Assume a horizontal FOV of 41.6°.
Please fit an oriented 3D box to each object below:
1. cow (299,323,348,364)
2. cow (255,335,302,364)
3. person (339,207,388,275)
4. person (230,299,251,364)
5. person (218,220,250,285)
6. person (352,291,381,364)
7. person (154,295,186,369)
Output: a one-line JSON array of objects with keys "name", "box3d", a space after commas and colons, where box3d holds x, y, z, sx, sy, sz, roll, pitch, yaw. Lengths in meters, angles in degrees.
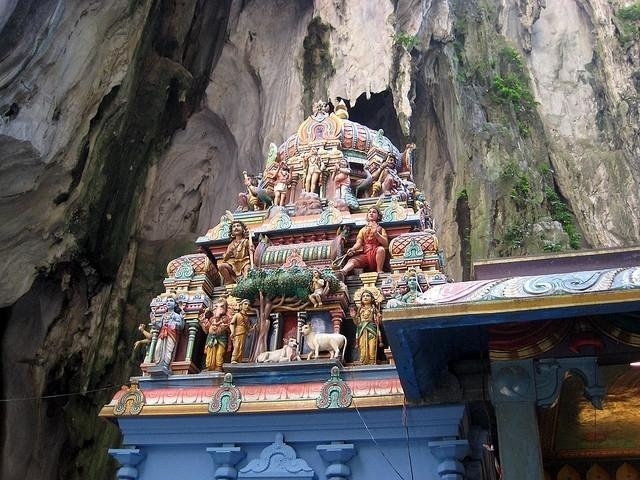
[{"name": "cow", "box3d": [0.101, 2.036, 16.494, 1.182, 0.897, 0.440, 0, -40, 9]}, {"name": "cow", "box3d": [-0.810, 2.334, 16.543, 0.919, 0.438, 0.388, -25, -42, 19]}, {"name": "person", "box3d": [0.936, -0.021, 17.986, 1.298, 1.753, 0.782, 12, -18, -39]}, {"name": "person", "box3d": [-1.623, 1.880, 17.026, 0.402, 1.266, 0.340, 4, -21, -6]}, {"name": "person", "box3d": [-1.788, 0.276, 18.272, 0.750, 1.565, 0.707, -7, -18, 18]}, {"name": "person", "box3d": [0.947, 1.735, 16.720, 0.525, 1.533, 0.267, 1, -20, 1]}, {"name": "person", "box3d": [-3.113, 1.911, 17.443, 0.582, 1.517, 0.313, 6, -21, -13]}]
